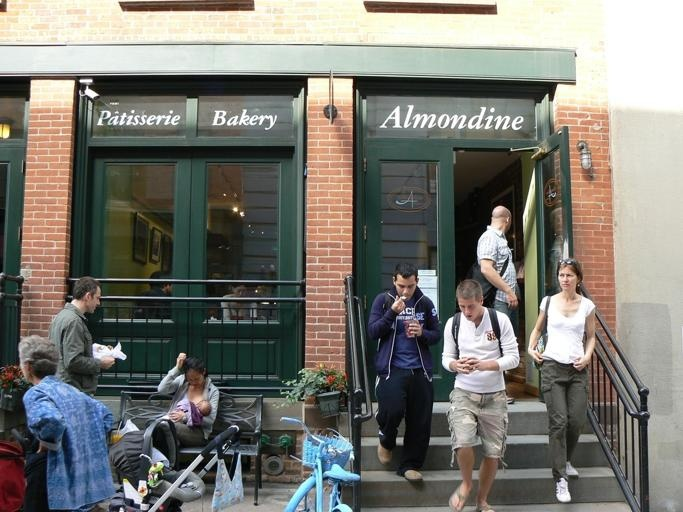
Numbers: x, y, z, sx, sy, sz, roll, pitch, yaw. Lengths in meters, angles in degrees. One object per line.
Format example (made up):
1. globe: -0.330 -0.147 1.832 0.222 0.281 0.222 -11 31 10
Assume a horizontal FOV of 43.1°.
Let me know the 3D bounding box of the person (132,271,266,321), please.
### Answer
1. person: -1.700 0.485 10.625 1.701 0.631 0.400 -2 -6 3

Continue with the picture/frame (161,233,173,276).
1. picture/frame: -2.206 -0.005 10.796 0.030 0.477 0.194 -9 -13 36

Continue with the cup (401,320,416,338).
1. cup: 0.705 0.779 9.197 0.147 0.177 0.157 0 -10 0

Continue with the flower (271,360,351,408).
1. flower: -0.321 1.496 9.884 0.746 0.418 0.536 -11 13 -37

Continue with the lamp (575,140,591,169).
1. lamp: 3.004 -1.257 10.708 0.180 0.356 0.086 -1 -6 -1

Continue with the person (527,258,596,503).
1. person: 2.375 1.314 9.262 0.682 2.536 0.316 -3 -6 19

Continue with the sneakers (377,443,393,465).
1. sneakers: 0.455 2.169 9.420 0.110 0.258 0.106 -2 24 7

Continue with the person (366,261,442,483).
1. person: 0.628 1.267 9.302 0.615 2.314 0.693 5 -8 -45

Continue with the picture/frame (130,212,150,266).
1. picture/frame: -2.537 -0.222 10.860 0.211 0.658 0.064 0 -6 -9

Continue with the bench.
1. bench: -1.773 2.366 10.077 2.215 1.809 0.915 0 -9 1

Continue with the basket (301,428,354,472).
1. basket: -0.148 1.775 7.966 0.408 0.296 0.344 7 -3 -22

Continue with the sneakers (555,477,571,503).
1. sneakers: 2.326 2.464 9.075 0.101 0.139 0.313 0 17 5

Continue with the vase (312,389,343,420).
1. vase: -0.145 1.681 9.776 0.315 0.316 0.268 -1 -6 -2

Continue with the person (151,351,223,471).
1. person: -1.796 1.738 9.803 0.577 1.252 0.717 -2 -14 33
